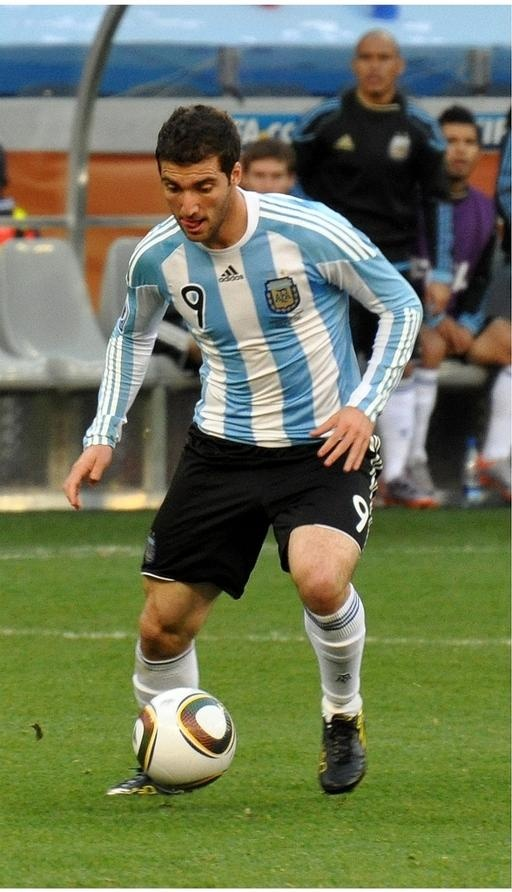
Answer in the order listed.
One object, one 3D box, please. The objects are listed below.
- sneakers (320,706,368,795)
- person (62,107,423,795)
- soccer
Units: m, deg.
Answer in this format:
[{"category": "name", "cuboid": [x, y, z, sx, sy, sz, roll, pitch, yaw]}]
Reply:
[{"category": "sneakers", "cuboid": [0.205, 0.703, 2.342, 0.071, 0.075, 0.197, -2, 25, 3]}, {"category": "person", "cuboid": [-0.037, -0.041, 2.355, 0.819, 1.426, 0.584, 1, 1, 8]}, {"category": "soccer", "cuboid": [-0.159, 0.616, 2.164, 0.192, 0.172, 0.229, 0, -9, -10]}]
